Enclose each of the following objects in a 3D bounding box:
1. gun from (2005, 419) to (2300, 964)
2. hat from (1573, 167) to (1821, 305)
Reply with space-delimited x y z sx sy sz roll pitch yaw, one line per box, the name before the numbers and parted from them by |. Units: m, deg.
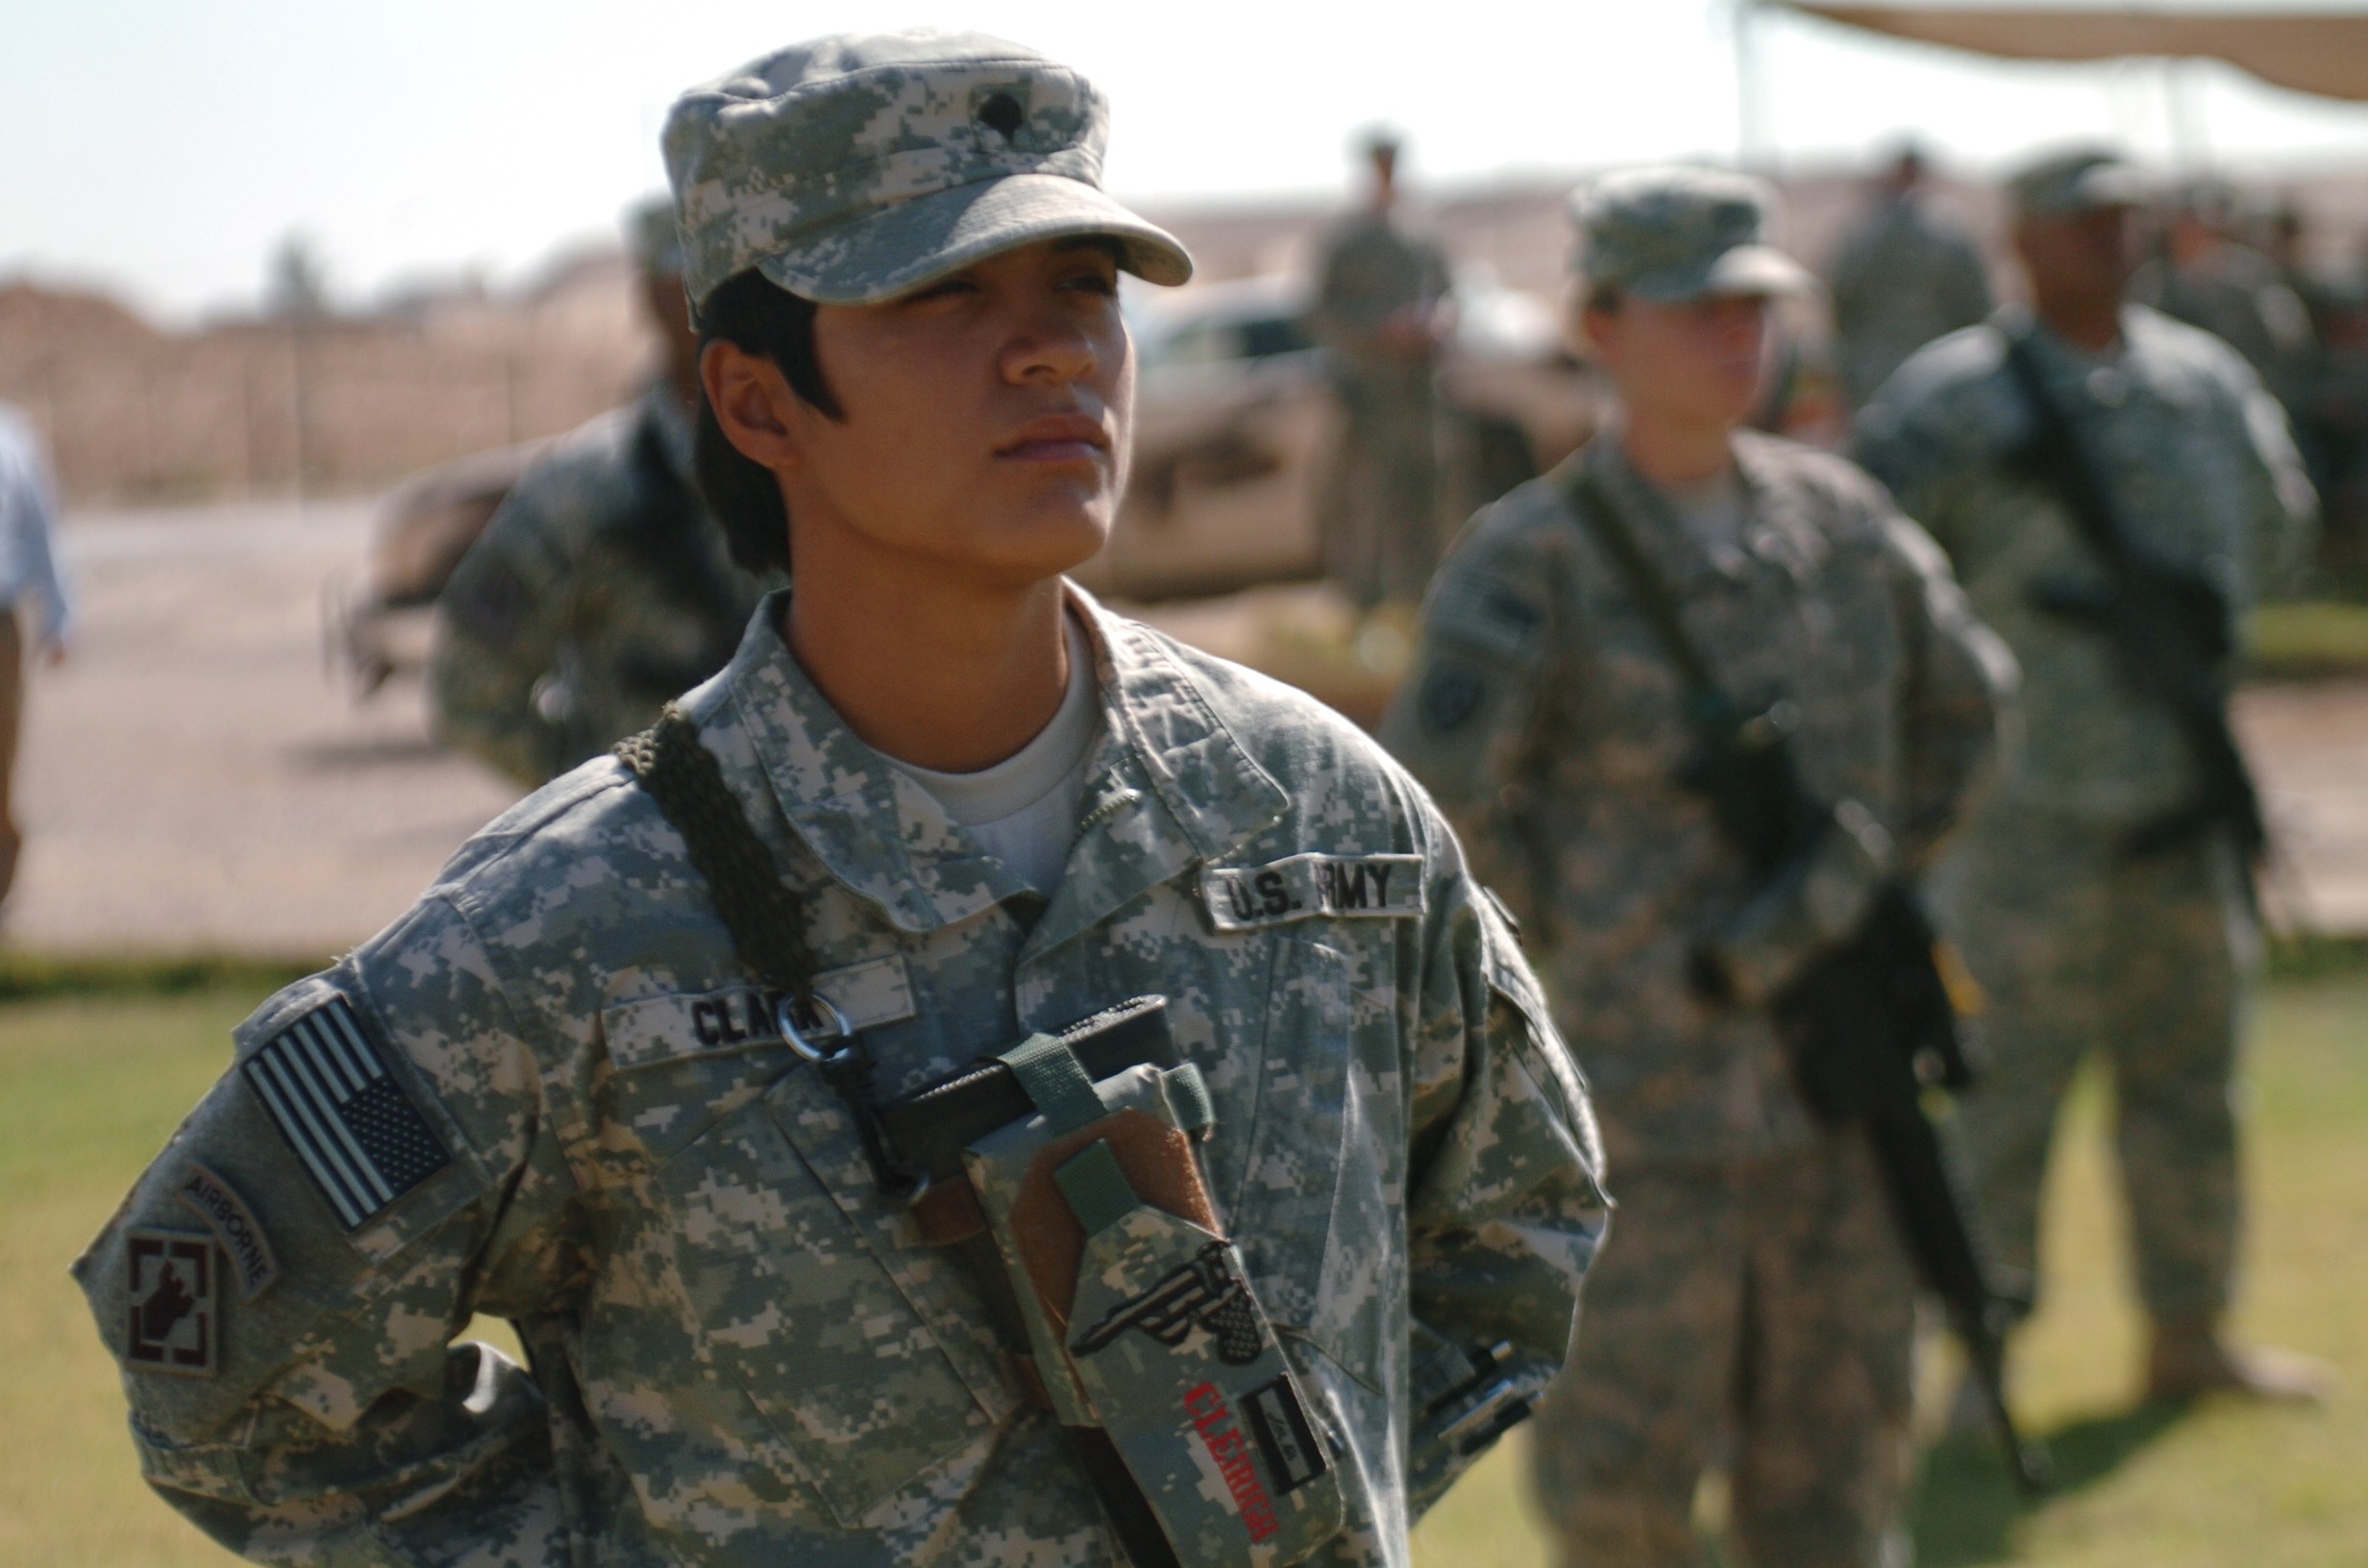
gun | 2.164 -0.292 9.027 0.354 1.411 0.429 -27 13 10
hat | 1.009 -1.117 8.262 0.395 0.187 0.288 -1 4 8
